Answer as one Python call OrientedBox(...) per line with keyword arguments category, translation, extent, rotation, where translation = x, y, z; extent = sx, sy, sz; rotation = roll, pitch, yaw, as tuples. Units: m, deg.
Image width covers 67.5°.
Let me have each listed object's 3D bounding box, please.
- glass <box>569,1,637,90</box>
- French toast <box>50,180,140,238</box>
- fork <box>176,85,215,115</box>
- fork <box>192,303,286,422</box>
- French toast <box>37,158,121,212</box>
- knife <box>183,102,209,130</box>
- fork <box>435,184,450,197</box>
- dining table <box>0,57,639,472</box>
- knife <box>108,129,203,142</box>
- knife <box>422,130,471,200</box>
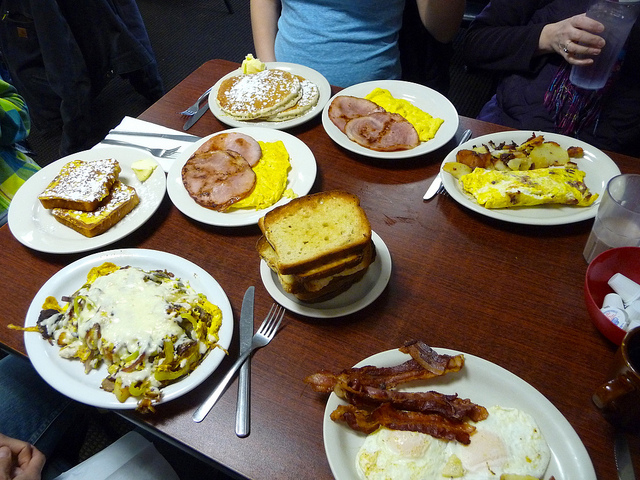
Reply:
OrientedBox(category="glass", translation=(1.159, -0.790, 2.014), extent=(0.202, 0.376, 0.191), rotation=(-20, 40, -24))
OrientedBox(category="French toast", translation=(-0.810, -0.120, 1.806), extent=(0.220, 0.063, 0.228), rotation=(15, 47, 17))
OrientedBox(category="fork", translation=(-0.610, -0.683, 2.332), extent=(0.032, 0.037, 0.249), rotation=(27, 51, -2))
OrientedBox(category="fork", translation=(-0.239, 0.371, 1.467), extent=(0.059, 0.031, 0.424), rotation=(28, 61, 18))
OrientedBox(category="French toast", translation=(-0.917, -0.230, 1.914), extent=(0.325, 0.195, 0.299), rotation=(-11, 33, -11))
OrientedBox(category="knife", translation=(-0.585, -0.582, 2.250), extent=(0.022, 0.016, 0.197), rotation=(34, 61, -3))
OrientedBox(category="fork", translation=(0.483, -0.190, 1.870), extent=(0.045, 0.011, 0.043), rotation=(19, 62, 20))
OrientedBox(category="dining table", translation=(-0.006, -0.014, 1.647), extent=(2.035, 0.403, 1.516), rotation=(11, 57, 8))
OrientedBox(category="knife", translation=(-0.743, -0.475, 2.155), extent=(0.449, 0.032, 0.053), rotation=(6, 63, 8))
OrientedBox(category="knife", translation=(0.495, -0.294, 1.894), extent=(0.042, 0.020, 0.394), rotation=(22, 61, 32))
